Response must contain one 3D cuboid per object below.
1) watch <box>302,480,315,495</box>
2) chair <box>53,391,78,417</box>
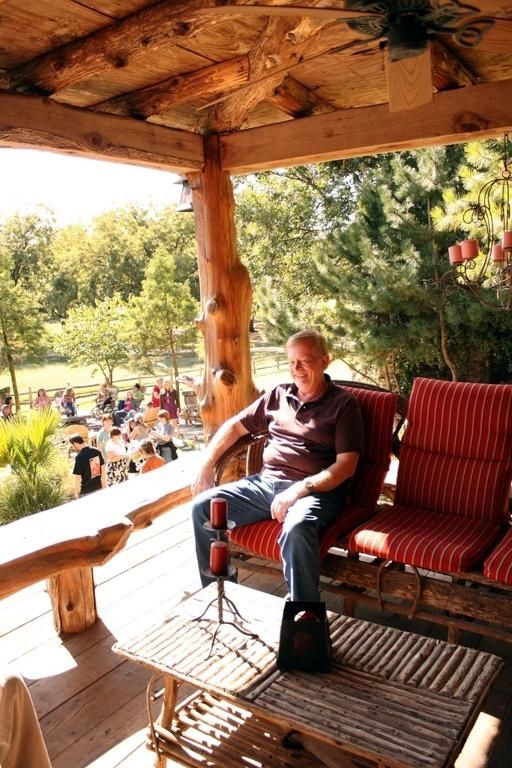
[{"bbox_3d":[0.221,0.429,2.168,0.053,0.047,0.051,0,48,-5],"label":"watch"},{"bbox_3d":[-4.916,0.503,13.393,0.527,0.640,0.699,-7,15,-30],"label":"chair"}]
